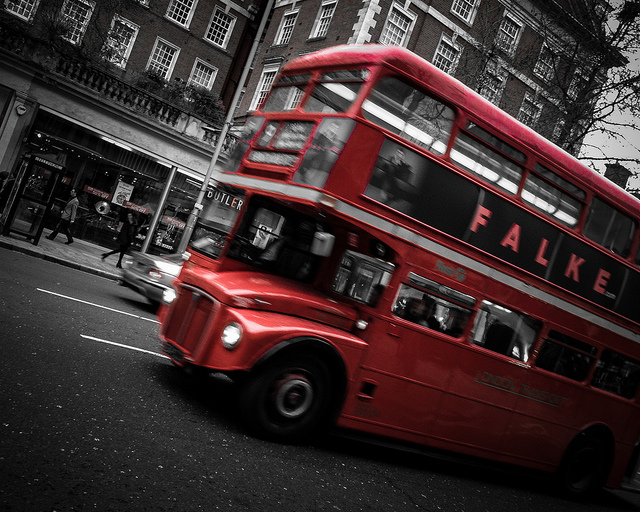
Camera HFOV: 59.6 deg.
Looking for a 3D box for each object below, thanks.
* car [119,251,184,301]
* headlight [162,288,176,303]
[{"bbox_3d":[-4.071,0.453,13.361,2.193,0.963,1.156,2,5,-40],"label":"car"},{"bbox_3d":[-2.200,0.601,8.161,0.108,0.233,0.557,18,-3,-20],"label":"headlight"}]
